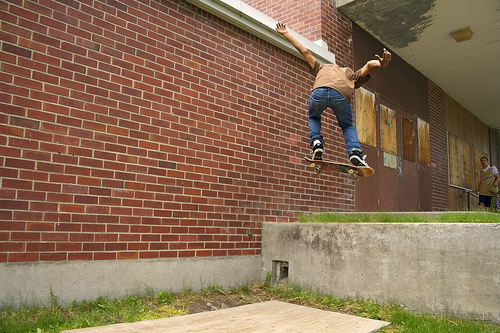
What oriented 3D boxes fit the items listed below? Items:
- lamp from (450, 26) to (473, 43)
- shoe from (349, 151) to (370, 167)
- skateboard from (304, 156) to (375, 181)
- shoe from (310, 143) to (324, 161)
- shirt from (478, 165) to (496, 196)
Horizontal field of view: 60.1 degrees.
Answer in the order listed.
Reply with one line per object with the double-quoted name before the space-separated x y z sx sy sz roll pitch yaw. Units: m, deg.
"lamp" 6.091 -3.757 12.375 0.525 0.195 0.497 -11 -17 39
"shoe" 1.990 -0.141 7.955 0.318 0.266 0.197 -2 -14 10
"skateboard" 1.813 0.050 9.163 1.378 0.183 0.342 12 -39 15
"shoe" 1.246 -0.266 7.957 0.183 0.258 0.356 -2 -14 10
"shirt" 7.309 0.444 13.283 0.225 0.909 0.739 2 -14 -8
